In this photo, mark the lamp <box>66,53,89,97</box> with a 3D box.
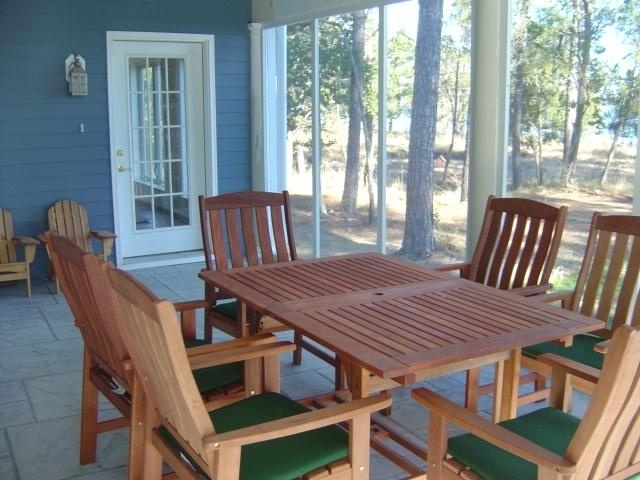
[{"bbox_3d":[-2.554,-1.734,5.603,0.224,0.417,0.161,-5,18,-18],"label":"lamp"}]
